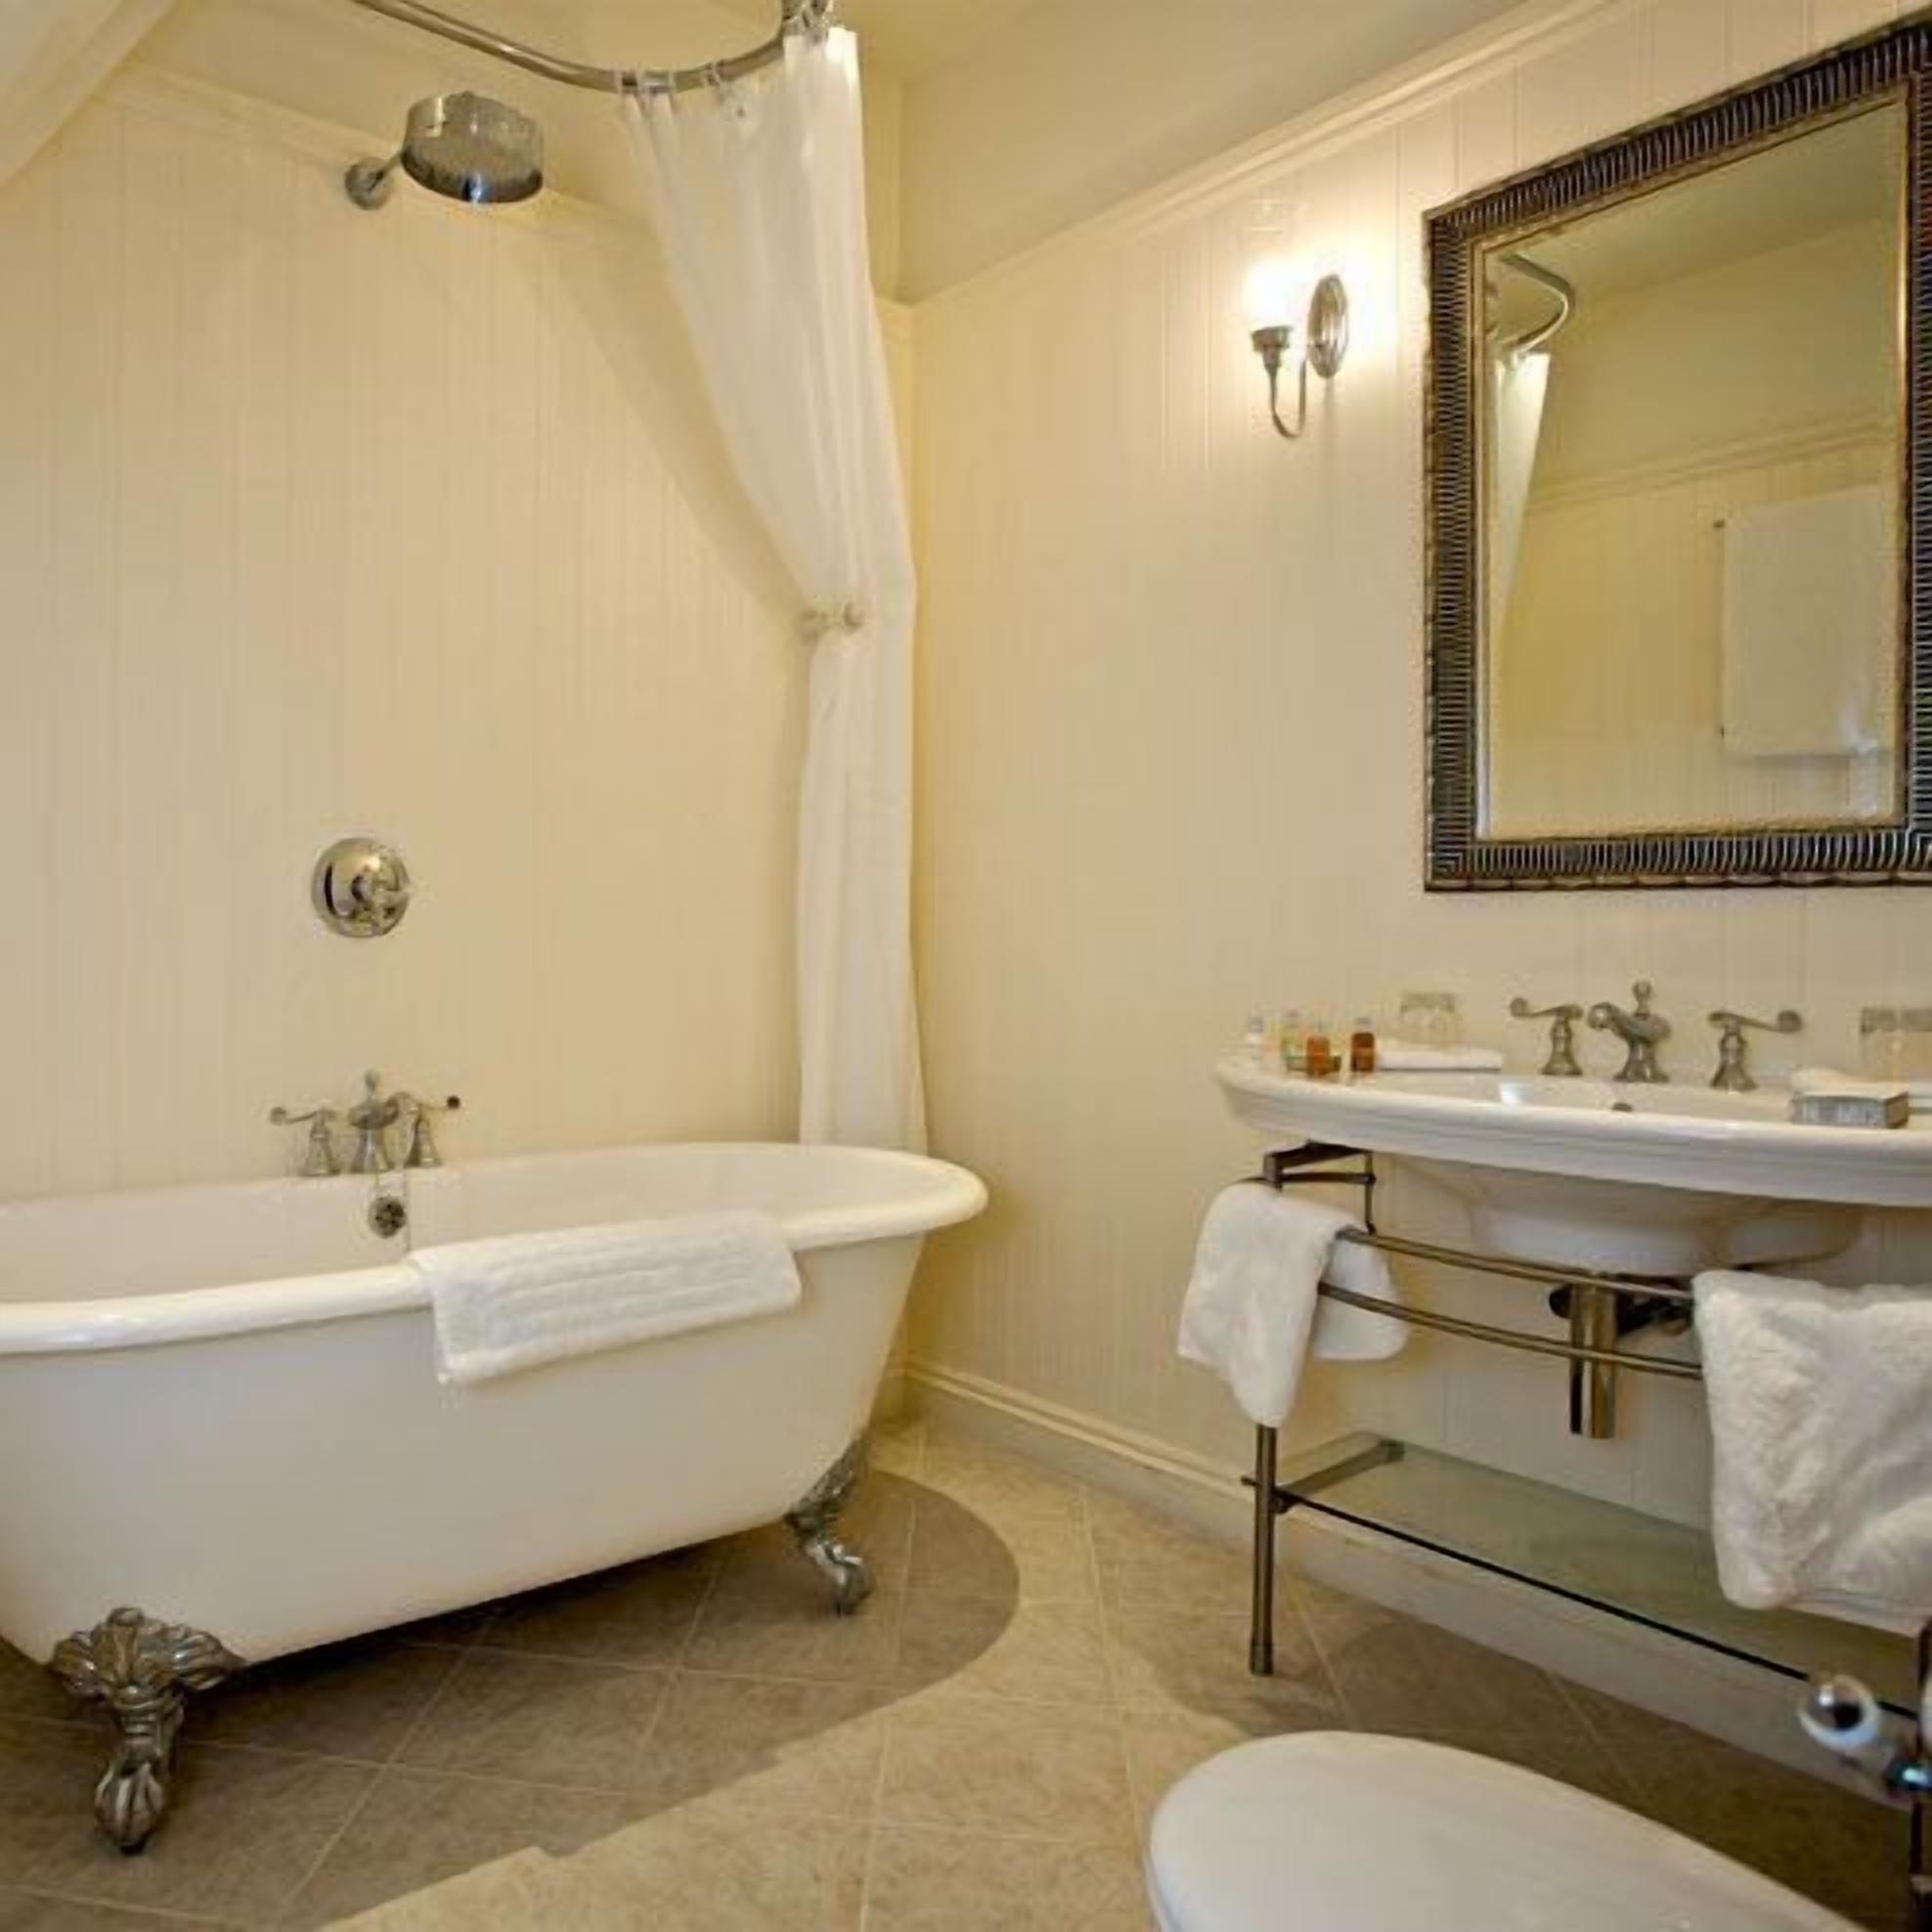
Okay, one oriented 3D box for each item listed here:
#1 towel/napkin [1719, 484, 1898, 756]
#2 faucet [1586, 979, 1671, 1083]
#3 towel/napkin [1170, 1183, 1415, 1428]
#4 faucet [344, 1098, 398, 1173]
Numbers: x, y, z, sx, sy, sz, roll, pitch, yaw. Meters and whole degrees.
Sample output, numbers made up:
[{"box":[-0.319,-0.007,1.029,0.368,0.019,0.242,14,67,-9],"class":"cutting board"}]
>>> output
[{"box":[1.089,-0.436,2.111,0.030,0.340,0.229,-4,5,-39],"class":"towel/napkin"},{"box":[0.917,0.091,2.216,0.156,0.167,0.090,12,-13,-43],"class":"faucet"},{"box":[0.426,0.435,2.291,0.278,0.363,0.341,-5,8,-22],"class":"towel/napkin"},{"box":[-1.028,0.290,2.829,0.088,0.170,0.111,2,-8,-18],"class":"faucet"}]
